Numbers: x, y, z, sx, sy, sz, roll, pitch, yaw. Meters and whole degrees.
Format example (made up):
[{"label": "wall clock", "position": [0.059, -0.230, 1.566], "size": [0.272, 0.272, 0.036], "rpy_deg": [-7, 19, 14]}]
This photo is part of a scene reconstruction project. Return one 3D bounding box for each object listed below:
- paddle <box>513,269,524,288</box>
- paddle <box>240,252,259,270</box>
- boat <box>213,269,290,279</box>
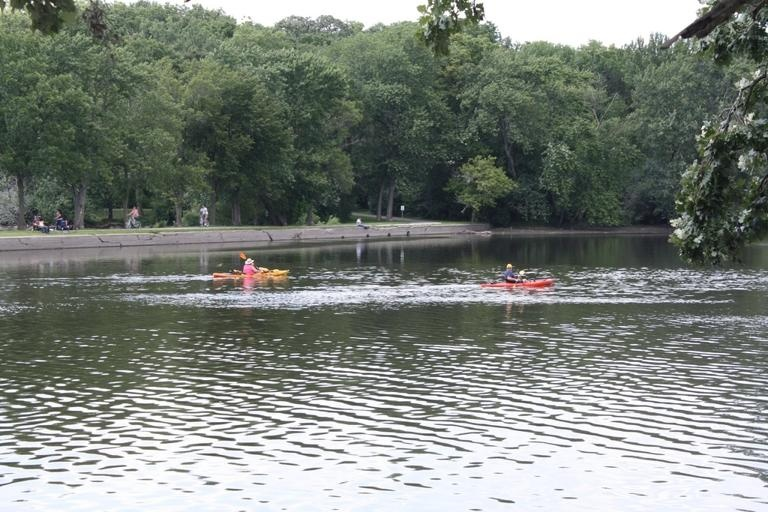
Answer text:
[{"label": "paddle", "position": [7.613, 1.335, 65.945], "size": [0.609, 0.591, 1.070], "rpy_deg": [14, 41, 11]}, {"label": "paddle", "position": [-9.004, 0.376, 78.190], "size": [0.540, 0.716, 1.596], "rpy_deg": [44, -9, 40]}, {"label": "boat", "position": [-7.964, 1.218, 70.341], "size": [4.606, 0.527, 1.330], "rpy_deg": [-2, 3, -19]}]
